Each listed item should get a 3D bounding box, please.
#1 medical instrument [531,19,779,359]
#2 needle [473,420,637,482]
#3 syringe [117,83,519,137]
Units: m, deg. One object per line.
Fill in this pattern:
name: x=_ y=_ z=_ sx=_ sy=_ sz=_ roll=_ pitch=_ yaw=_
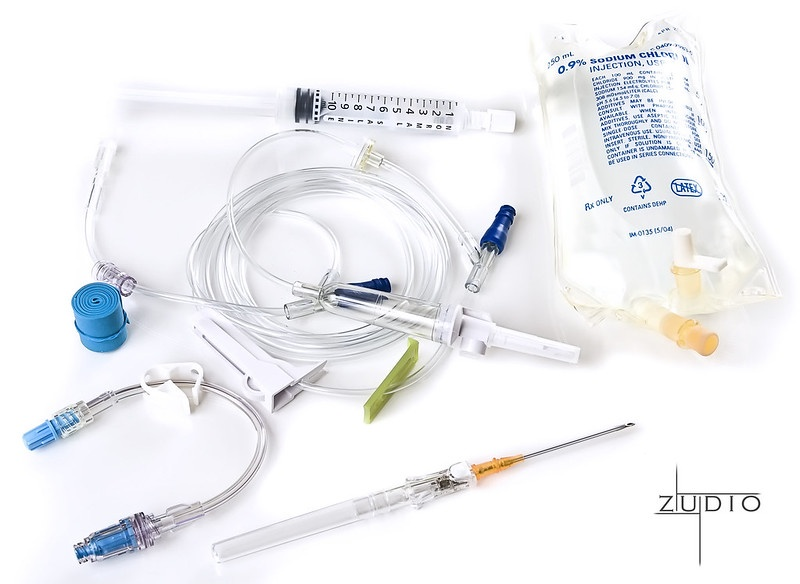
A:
medical instrument: x=0.687 y=-0.327 z=2.325 sx=0.530 sy=1.018 sz=0.207 roll=1 pitch=-23 yaw=-5
needle: x=0.412 y=0.428 z=2.138 sx=0.318 sy=0.038 sz=0.037 roll=-17 pitch=-9 yaw=-10
syringe: x=-0.299 y=-0.645 z=2.813 sx=1.419 sy=0.160 sz=0.153 roll=5 pitch=34 yaw=5
